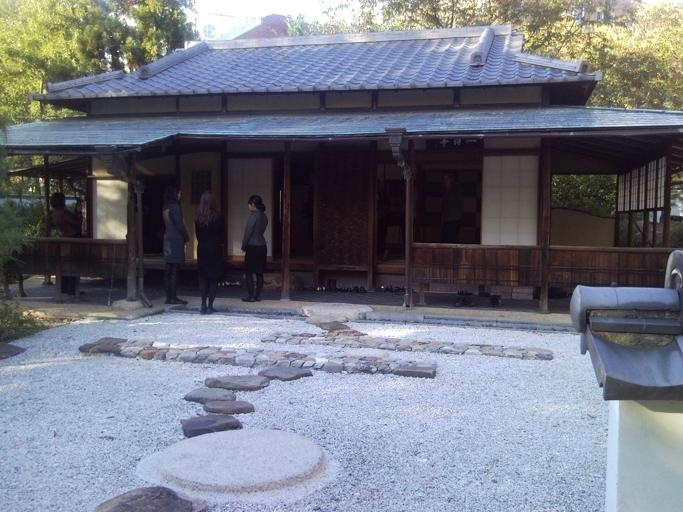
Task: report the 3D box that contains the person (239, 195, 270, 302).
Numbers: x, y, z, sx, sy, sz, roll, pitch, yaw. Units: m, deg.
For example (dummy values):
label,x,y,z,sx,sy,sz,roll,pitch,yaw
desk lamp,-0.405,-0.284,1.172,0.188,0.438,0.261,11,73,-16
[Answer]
label,x,y,z,sx,sy,sz,roll,pitch,yaw
person,-1.511,-0.150,10.353,0.362,1.783,0.530,1,10,9

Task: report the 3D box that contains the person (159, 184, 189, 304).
label,x,y,z,sx,sy,sz,roll,pitch,yaw
person,-2.845,-0.224,10.249,0.398,1.979,0.776,-3,10,-16

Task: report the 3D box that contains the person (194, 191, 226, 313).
label,x,y,z,sx,sy,sz,roll,pitch,yaw
person,-2.132,-0.081,9.749,0.435,1.871,0.454,-2,10,-14
